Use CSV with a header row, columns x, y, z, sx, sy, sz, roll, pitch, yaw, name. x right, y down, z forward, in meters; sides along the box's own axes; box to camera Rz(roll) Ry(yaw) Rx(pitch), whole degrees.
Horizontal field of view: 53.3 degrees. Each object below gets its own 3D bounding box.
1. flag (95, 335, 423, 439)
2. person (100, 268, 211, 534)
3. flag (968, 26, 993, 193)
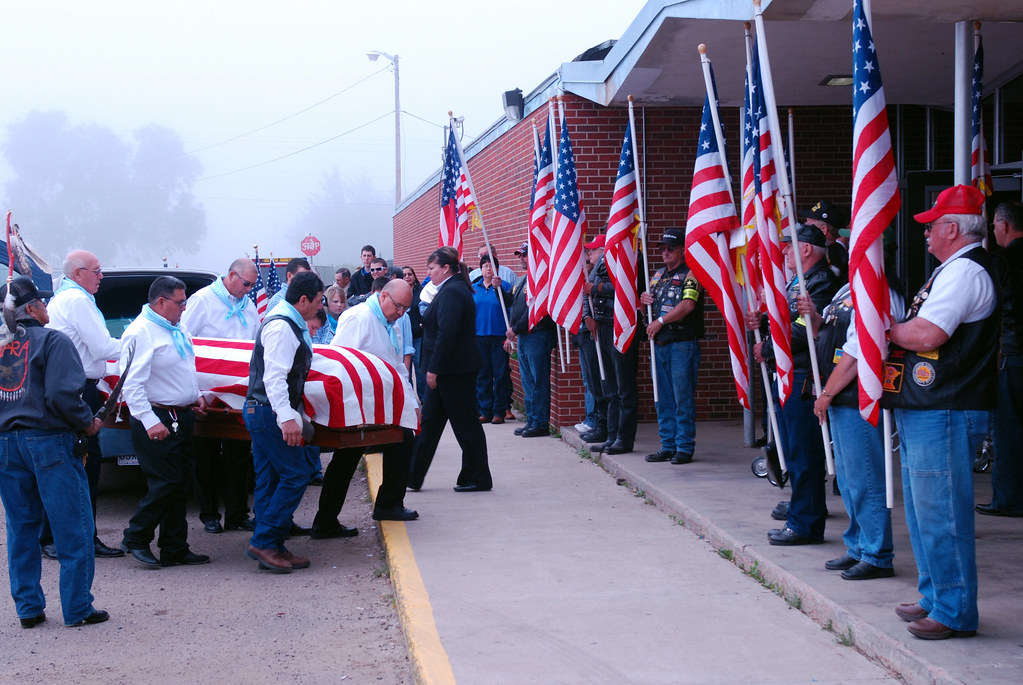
x,y,z,sx,sy,sz,roll,pitch,yaw,name
-2.013,0.359,9.249,1.835,0.498,1.231,3,3,27,flag
-3.073,0.690,8.927,0.694,2.499,0.990,0,3,10,person
4.577,-2.316,9.977,0.165,1.784,1.679,-1,1,25,flag
